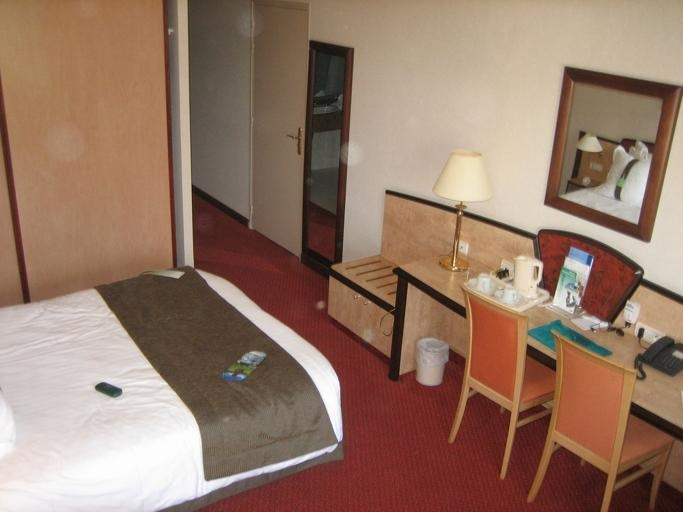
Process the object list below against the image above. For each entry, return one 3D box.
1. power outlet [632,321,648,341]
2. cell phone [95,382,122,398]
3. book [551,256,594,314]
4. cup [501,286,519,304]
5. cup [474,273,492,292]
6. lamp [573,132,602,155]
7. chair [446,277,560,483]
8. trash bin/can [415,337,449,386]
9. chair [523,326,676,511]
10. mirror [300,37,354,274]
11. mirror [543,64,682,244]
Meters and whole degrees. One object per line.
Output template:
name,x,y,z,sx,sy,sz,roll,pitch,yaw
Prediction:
power outlet,1.802,0.459,3.199,0.031,0.086,0.084,14,5,23
cell phone,-1.275,0.711,2.877,0.126,0.031,0.071,16,33,19
book,1.517,0.191,3.446,0.044,0.415,0.235,7,15,-38
cup,1.090,0.247,3.457,0.083,0.083,0.110,-9,20,-20
cup,0.974,0.183,3.645,0.090,0.091,0.121,0,15,3
lamp,1.572,-0.702,3.329,0.114,0.058,0.116,-4,31,-3
chair,1.141,0.795,3.491,0.652,1.074,0.597,-10,20,-42
trash bin/can,0.716,0.846,4.212,0.269,0.294,0.259,-9,17,-44
chair,1.509,0.994,3.026,0.726,1.147,0.450,-5,26,-21
mirror,-0.166,-0.940,5.414,0.241,2.290,0.819,-10,28,-30
mirror,1.682,-0.643,3.218,0.067,1.005,0.841,-15,34,-31
